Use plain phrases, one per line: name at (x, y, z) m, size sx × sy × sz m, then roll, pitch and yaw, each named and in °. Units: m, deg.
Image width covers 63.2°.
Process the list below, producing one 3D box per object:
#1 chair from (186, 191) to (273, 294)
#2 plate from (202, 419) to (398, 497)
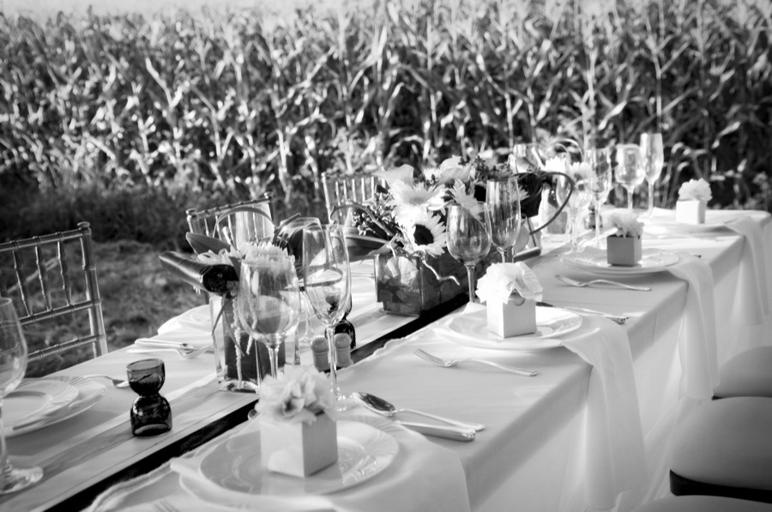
chair at (-0.579, -0.111, 2.359) m, size 0.353 × 0.257 × 0.356 m, roll -13°, pitch 19°, yaw -37°
plate at (-0.156, 0.370, 1.145) m, size 0.353 × 0.066 × 0.159 m, roll -3°, pitch 8°, yaw 2°
